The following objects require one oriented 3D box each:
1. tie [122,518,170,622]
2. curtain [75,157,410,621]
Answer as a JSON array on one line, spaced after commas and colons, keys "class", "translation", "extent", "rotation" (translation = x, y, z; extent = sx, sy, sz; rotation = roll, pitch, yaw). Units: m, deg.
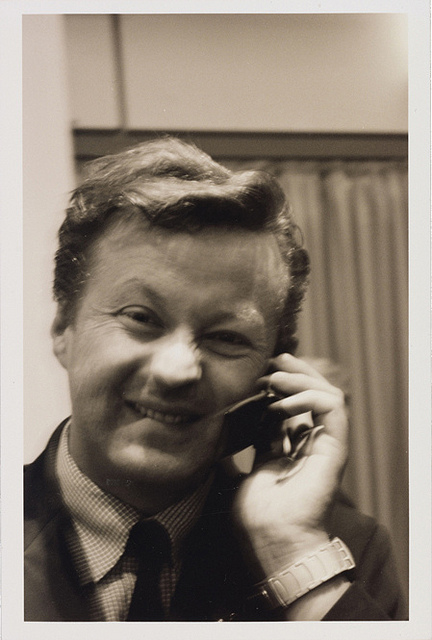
[{"class": "tie", "translation": [-0.274, 0.985, 3.475], "extent": [0.187, 0.394, 0.080], "rotation": [-5, 10, 4]}, {"class": "curtain", "translation": [0.329, 0.026, 5.016], "extent": [3.141, 2.739, 0.718], "rotation": [0, -1, -13]}]
